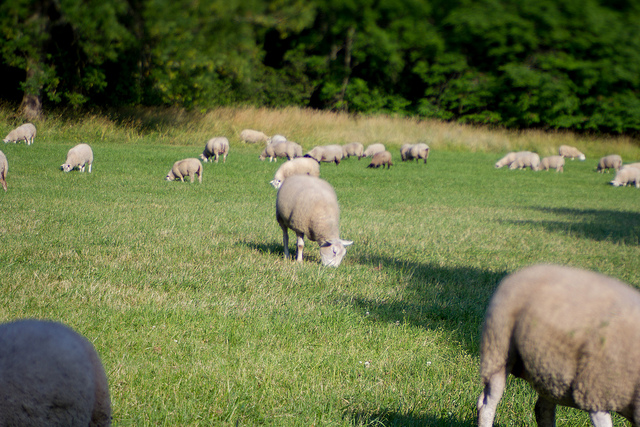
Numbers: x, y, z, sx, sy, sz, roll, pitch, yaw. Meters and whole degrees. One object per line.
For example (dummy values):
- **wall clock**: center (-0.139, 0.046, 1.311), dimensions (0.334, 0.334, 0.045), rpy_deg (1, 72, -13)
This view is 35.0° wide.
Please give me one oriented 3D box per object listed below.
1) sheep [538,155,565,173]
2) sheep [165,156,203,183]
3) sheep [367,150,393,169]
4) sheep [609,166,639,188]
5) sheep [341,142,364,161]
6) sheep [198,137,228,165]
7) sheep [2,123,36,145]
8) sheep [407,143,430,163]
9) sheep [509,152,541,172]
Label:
- **sheep**: center (10.290, -2.214, 44.960), dimensions (0.850, 0.771, 1.901), rpy_deg (2, 10, -12)
- **sheep**: center (-4.525, -1.288, 33.346), dimensions (1.497, 0.874, 0.465), rpy_deg (-11, -2, 29)
- **sheep**: center (2.392, -2.167, 41.140), dimensions (0.940, 0.753, 1.661), rpy_deg (4, 10, 0)
- **sheep**: center (11.589, -1.393, 38.360), dimensions (1.085, 0.667, 0.603), rpy_deg (3, 10, -7)
- **sheep**: center (1.441, -2.815, 46.146), dimensions (0.935, 0.826, 1.575), rpy_deg (4, 10, 2)
- **sheep**: center (-4.391, -2.436, 40.663), dimensions (0.517, 0.841, 1.500), rpy_deg (-12, -4, -37)
- **sheep**: center (-11.812, -3.114, 39.726), dimensions (0.830, 0.723, 1.722), rpy_deg (5, 10, 8)
- **sheep**: center (4.245, -2.685, 44.039), dimensions (0.767, 0.804, 1.923), rpy_deg (4, 10, -1)
- **sheep**: center (9.191, -2.373, 45.548), dimensions (1.331, 0.706, 1.207), rpy_deg (6, 10, 10)
